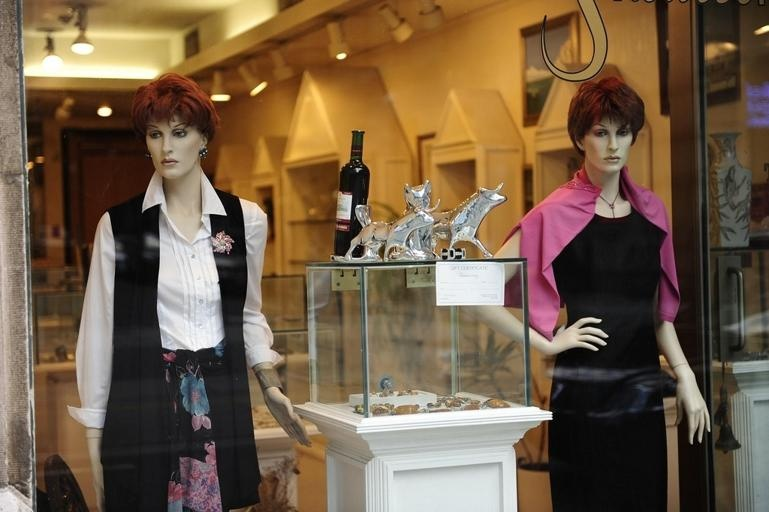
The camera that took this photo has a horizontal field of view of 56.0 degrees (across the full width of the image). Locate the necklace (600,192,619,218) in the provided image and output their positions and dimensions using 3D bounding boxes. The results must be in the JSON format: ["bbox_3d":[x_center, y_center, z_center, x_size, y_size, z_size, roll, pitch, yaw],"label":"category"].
[{"bbox_3d":[0.925,-0.213,2.977,0.098,0.106,0.018,0,-8,-23],"label":"necklace"}]

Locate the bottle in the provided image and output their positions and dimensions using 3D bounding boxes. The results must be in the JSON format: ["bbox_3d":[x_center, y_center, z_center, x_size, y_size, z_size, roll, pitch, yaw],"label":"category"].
[{"bbox_3d":[-0.131,-0.265,2.863,0.140,0.534,0.263,-2,-8,-4],"label":"bottle"}]

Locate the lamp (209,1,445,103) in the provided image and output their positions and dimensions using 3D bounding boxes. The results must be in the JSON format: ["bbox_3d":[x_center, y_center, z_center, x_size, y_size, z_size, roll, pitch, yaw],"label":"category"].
[{"bbox_3d":[-0.288,-0.904,3.161,0.932,0.231,0.131,-27,37,-9],"label":"lamp"}]

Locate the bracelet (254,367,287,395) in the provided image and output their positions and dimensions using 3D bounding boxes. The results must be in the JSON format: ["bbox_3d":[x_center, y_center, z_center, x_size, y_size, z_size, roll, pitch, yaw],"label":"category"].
[{"bbox_3d":[-0.436,0.478,2.741,0.070,0.115,0.092,-32,-45,-4],"label":"bracelet"}]

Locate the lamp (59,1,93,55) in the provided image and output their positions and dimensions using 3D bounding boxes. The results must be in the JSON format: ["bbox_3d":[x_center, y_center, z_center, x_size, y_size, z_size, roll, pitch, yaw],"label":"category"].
[{"bbox_3d":[-1.205,-0.900,2.863,0.095,0.201,0.057,-4,-8,3],"label":"lamp"}]
